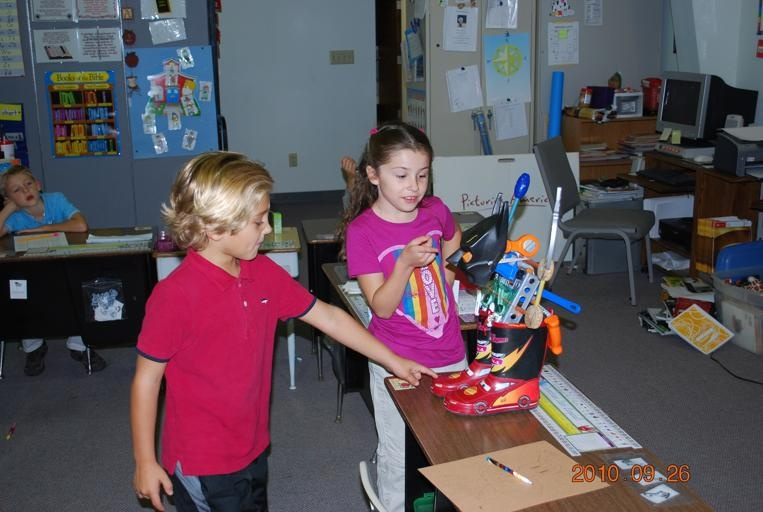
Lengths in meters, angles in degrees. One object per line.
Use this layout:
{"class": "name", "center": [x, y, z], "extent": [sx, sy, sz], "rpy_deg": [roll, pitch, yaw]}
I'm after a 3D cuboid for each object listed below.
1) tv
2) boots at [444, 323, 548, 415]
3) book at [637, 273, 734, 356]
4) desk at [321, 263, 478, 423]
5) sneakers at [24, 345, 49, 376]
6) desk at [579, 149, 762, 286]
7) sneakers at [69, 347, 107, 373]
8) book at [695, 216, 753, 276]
{"class": "tv", "center": [2.970, -1.379, 5.360], "extent": [0.712, 0.751, 0.735], "rpy_deg": [-10, 18, -4]}
{"class": "boots", "center": [0.390, 0.353, 1.878], "extent": [0.387, 0.309, 0.203], "rpy_deg": [-1, 12, -7]}
{"class": "book", "center": [2.273, 0.443, 4.178], "extent": [0.405, 0.171, 0.558], "rpy_deg": [-15, 26, -4]}
{"class": "desk", "center": [0.070, 0.586, 3.308], "extent": [0.778, 0.750, 1.472], "rpy_deg": [-2, 18, -11]}
{"class": "sneakers", "center": [-2.424, 0.735, 3.968], "extent": [0.101, 0.132, 0.305], "rpy_deg": [-1, 11, -12]}
{"class": "desk", "center": [2.566, -0.111, 5.077], "extent": [0.953, 0.986, 1.493], "rpy_deg": [-2, 19, -14]}
{"class": "sneakers", "center": [-2.103, 0.746, 3.992], "extent": [0.211, 0.152, 0.071], "rpy_deg": [34, 33, 24]}
{"class": "book", "center": [2.755, -0.090, 4.490], "extent": [0.422, 0.398, 0.242], "rpy_deg": [-4, 16, -12]}
